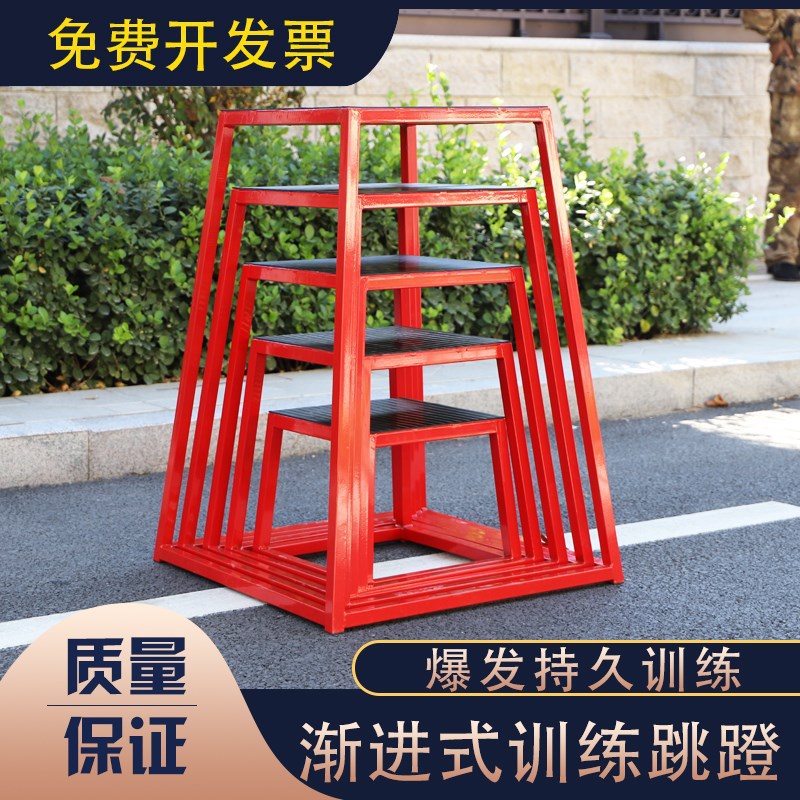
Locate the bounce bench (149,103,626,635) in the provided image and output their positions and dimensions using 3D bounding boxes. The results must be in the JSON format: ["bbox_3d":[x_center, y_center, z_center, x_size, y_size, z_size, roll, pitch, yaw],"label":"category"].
[{"bbox_3d":[-0.084,-0.025,2.946,1.573,1.422,1.160,6,97,12],"label":"bounce bench"}]
